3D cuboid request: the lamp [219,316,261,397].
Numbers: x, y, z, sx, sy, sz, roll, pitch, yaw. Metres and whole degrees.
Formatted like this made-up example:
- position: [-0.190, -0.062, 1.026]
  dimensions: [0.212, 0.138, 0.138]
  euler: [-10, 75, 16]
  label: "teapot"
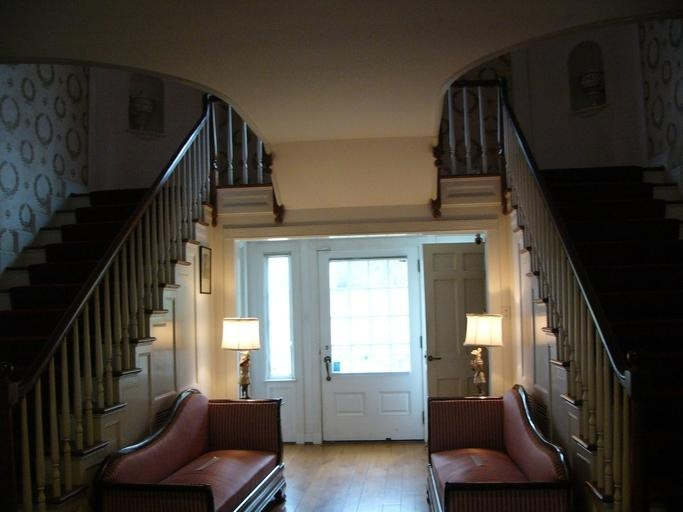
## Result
- position: [-1.025, 1.041, 5.965]
  dimensions: [0.354, 0.841, 0.973]
  euler: [-2, -6, -10]
  label: "lamp"
